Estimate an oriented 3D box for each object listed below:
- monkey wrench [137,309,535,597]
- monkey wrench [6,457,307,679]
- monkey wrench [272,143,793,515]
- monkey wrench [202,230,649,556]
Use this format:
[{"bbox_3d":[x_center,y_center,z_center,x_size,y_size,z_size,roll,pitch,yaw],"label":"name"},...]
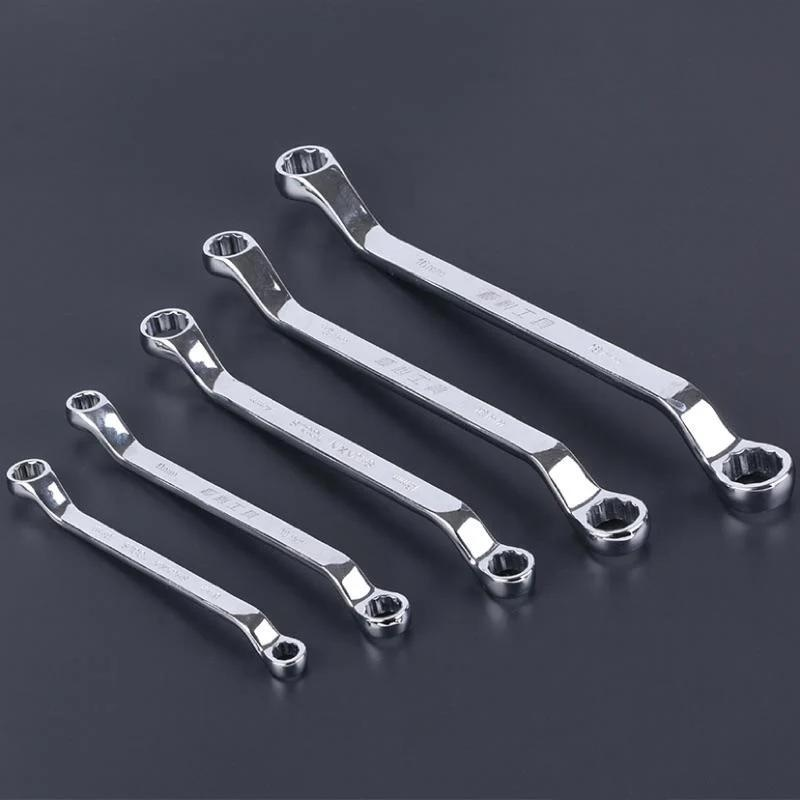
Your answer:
[{"bbox_3d":[-0.079,0.080,1.384,0.511,0.092,0.086,36,40,23],"label":"monkey wrench"},{"bbox_3d":[-0.301,0.219,1.306,0.400,0.064,0.066,35,43,26],"label":"monkey wrench"},{"bbox_3d":[0.194,-0.094,1.529,0.138,0.158,0.806,-30,50,-31],"label":"monkey wrench"},{"bbox_3d":[0.035,0.002,1.443,0.616,0.109,0.106,36,43,26],"label":"monkey wrench"}]
